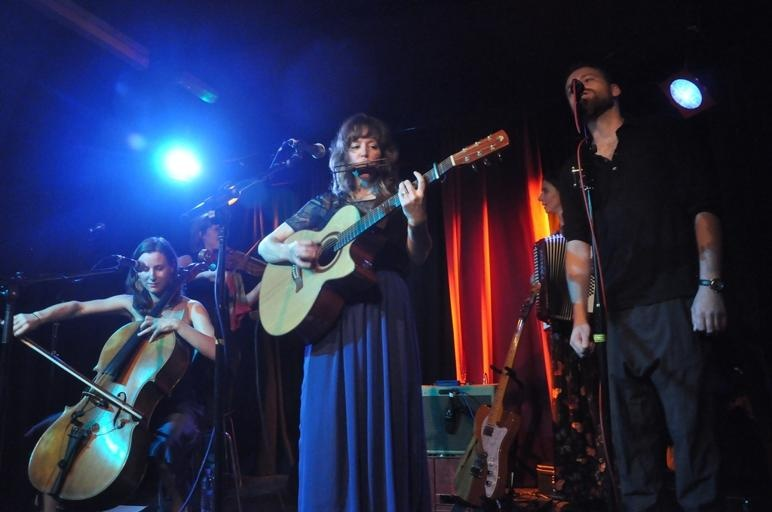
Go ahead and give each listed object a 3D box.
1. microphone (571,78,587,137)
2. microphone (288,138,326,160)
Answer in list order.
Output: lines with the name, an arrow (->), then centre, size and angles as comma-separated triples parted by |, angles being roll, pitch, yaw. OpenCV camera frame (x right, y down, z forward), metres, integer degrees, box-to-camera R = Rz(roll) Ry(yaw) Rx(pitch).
microphone -> 1.265, -0.981, 4.456 | 0.108, 0.457, 0.128 | -4, -5, 22
microphone -> -0.615, -0.801, 4.963 | 0.152, 0.211, 0.287 | 15, 14, 28
